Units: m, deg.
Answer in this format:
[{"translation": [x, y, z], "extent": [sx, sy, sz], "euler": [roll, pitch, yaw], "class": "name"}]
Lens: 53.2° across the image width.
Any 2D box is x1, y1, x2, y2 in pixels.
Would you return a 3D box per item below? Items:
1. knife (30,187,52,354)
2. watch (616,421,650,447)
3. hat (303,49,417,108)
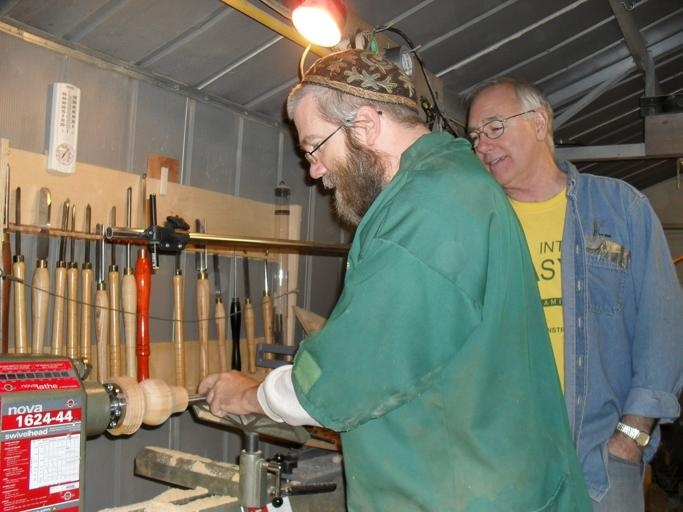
[{"translation": [-1.258, 0.059, 2.861], "extent": [0.069, 0.682, 0.152], "euler": [3, -12, -25], "class": "knife"}, {"translation": [1.074, 0.651, 2.506], "extent": [0.091, 0.030, 0.085], "euler": [33, -6, -32], "class": "watch"}, {"translation": [0.068, -0.584, 2.186], "extent": [0.250, 0.097, 0.242], "euler": [30, 2, 3], "class": "hat"}]
